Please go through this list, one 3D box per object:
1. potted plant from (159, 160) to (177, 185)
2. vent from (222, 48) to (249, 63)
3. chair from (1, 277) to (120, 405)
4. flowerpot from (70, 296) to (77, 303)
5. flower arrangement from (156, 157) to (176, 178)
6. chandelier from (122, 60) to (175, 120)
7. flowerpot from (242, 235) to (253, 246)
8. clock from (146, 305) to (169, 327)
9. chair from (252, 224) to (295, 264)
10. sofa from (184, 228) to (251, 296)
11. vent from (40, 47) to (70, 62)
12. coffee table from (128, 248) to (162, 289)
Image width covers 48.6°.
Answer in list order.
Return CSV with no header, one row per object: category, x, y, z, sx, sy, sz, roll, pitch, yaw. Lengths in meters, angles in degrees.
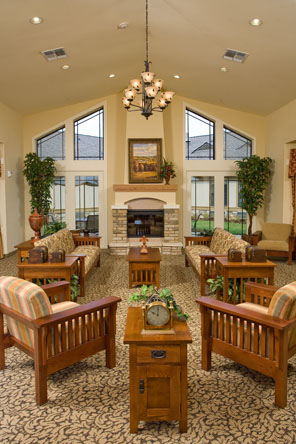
potted plant,0.499,-1.275,8.511,0.434,0.658,0.497,0,3,3
vent,1.532,-2.915,5.781,0.412,0.082,0.379,0,4,-5
chair,-0.688,0.624,2.624,0.800,0.829,0.916,-7,11,-42
flowerpot,-0.944,0.987,4.174,0.046,0.087,0.088,0,4,4
flower arrangement,0.474,-1.389,8.487,0.461,0.534,0.455,0,3,-4
chandelier,-0.015,-1.949,4.787,0.617,1.025,0.765,0,0,-3
flowerpot,2.419,0.414,7.990,0.298,0.323,0.450,2,1,9
clock,0.055,0.557,1.961,0.129,0.137,0.043,0,4,-2
chair,2.773,0.452,7.228,0.893,0.770,0.888,1,4,18
sofa,1.034,0.588,5.388,0.616,0.847,2.530,0,4,0
vent,-1.620,-2.927,5.766,0.415,0.112,0.444,0,4,0
coffee table,-0.074,0.751,5.594,0.535,0.503,1.091,0,7,1
